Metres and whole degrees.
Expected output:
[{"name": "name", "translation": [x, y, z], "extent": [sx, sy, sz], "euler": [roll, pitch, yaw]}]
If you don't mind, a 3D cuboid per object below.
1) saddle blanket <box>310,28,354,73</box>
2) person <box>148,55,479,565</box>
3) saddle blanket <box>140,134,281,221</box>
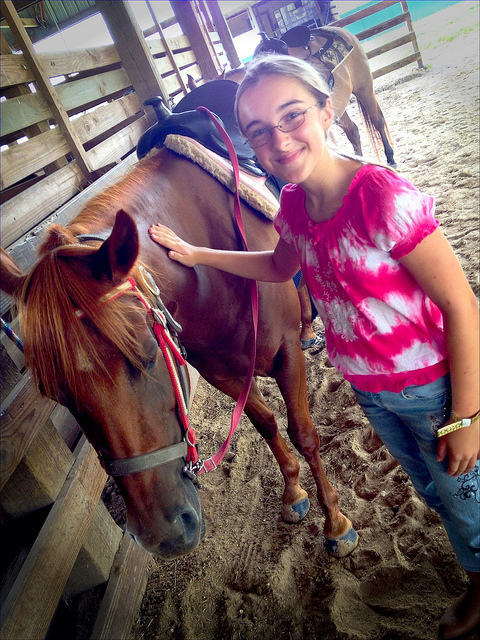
[{"name": "saddle blanket", "translation": [0.857, -2.316, 3.887], "extent": [0.345, 0.540, 0.308], "euler": [4, 28, 16]}, {"name": "person", "translation": [0.261, -0.014, 1.007], "extent": [0.300, 1.128, 0.607], "euler": [-30, 25, -11]}, {"name": "saddle blanket", "translation": [-0.048, -0.472, 1.695], "extent": [0.359, 0.474, 0.655], "euler": [5, 22, 10]}]
